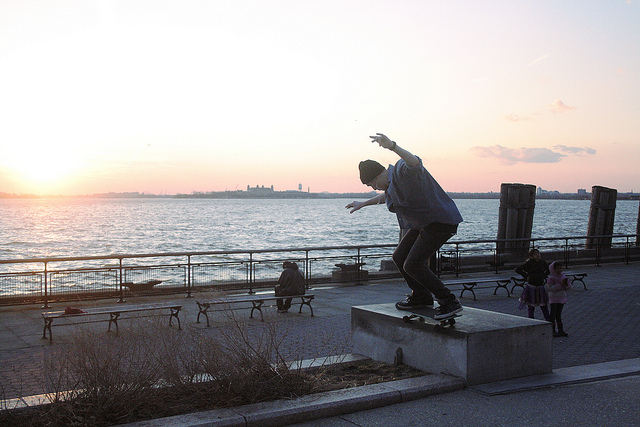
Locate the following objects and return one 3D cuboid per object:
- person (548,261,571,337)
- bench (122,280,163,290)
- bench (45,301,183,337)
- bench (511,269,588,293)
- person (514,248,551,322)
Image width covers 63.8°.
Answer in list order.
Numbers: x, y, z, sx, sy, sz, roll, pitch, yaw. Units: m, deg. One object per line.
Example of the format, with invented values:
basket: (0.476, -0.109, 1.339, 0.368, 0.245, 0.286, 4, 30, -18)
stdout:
person: (4.935, 1.727, 10.624, 0.389, 1.433, 1.665, 0, 0, 26)
bench: (-4.809, 1.996, 14.317, 1.376, 0.316, 0.264, 0, -1, -14)
bench: (-4.648, 2.148, 11.198, 2.384, 0.377, 2.749, -1, 0, -31)
bench: (5.766, 1.724, 12.917, 1.292, 0.286, 0.476, -2, 8, -8)
person: (4.728, 1.589, 11.410, 0.677, 1.536, 1.058, -1, 1, 20)
